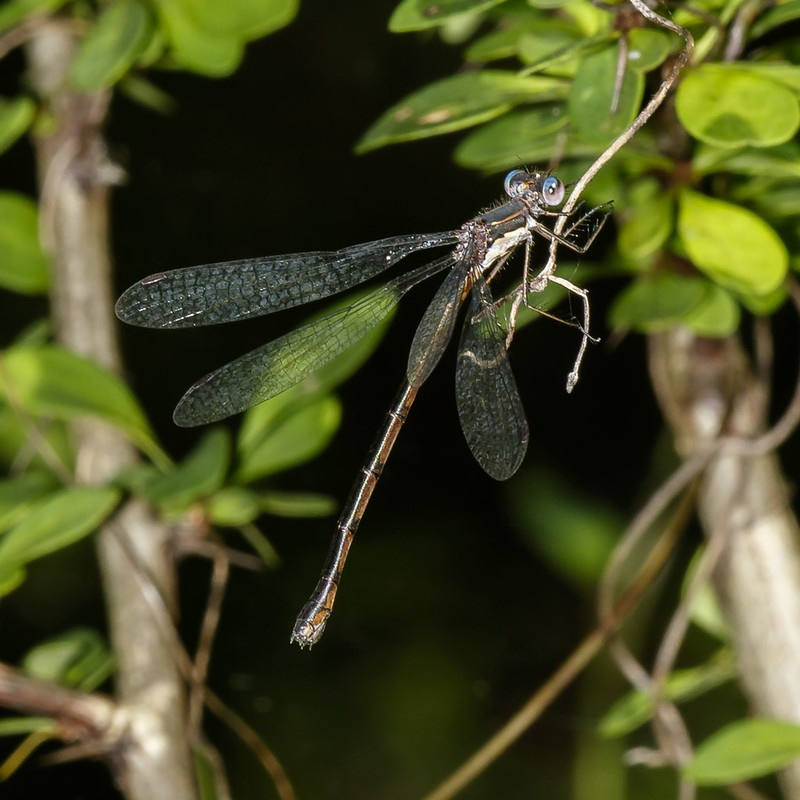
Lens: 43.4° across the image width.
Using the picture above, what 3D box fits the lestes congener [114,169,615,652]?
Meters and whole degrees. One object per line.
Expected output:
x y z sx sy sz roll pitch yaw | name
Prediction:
-0.036 -0.015 1.168 0.527 0.478 0.310 -8 29 -21 | lestes congener
